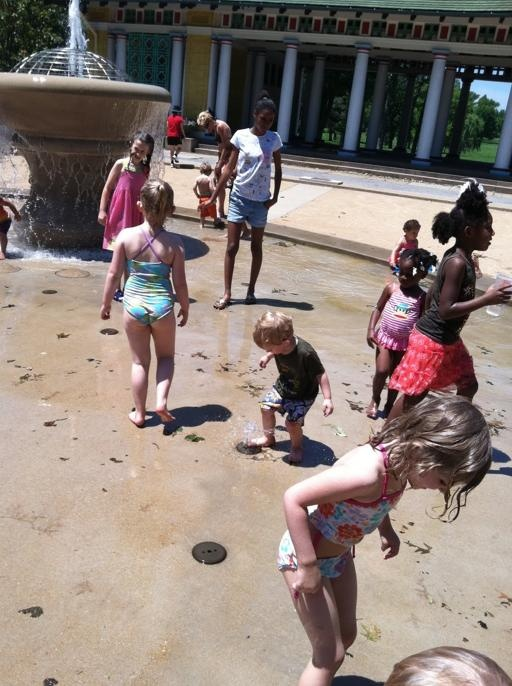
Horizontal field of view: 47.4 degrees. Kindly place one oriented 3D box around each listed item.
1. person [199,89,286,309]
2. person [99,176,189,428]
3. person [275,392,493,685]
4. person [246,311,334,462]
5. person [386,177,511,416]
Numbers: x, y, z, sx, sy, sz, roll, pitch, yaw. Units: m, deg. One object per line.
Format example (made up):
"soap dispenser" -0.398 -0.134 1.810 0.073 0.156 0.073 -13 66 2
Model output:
"person" -0.137 -1.561 6.430 0.736 2.171 1.382 7 20 -1
"person" -0.673 -0.205 3.502 0.521 1.480 0.445 4 21 -9
"person" 0.251 0.512 1.574 0.413 0.882 0.432 1 21 -16
"person" 0.197 0.314 3.682 0.392 0.914 0.600 -33 56 -20
"person" 1.099 -0.197 3.266 0.506 1.380 0.662 11 20 12
